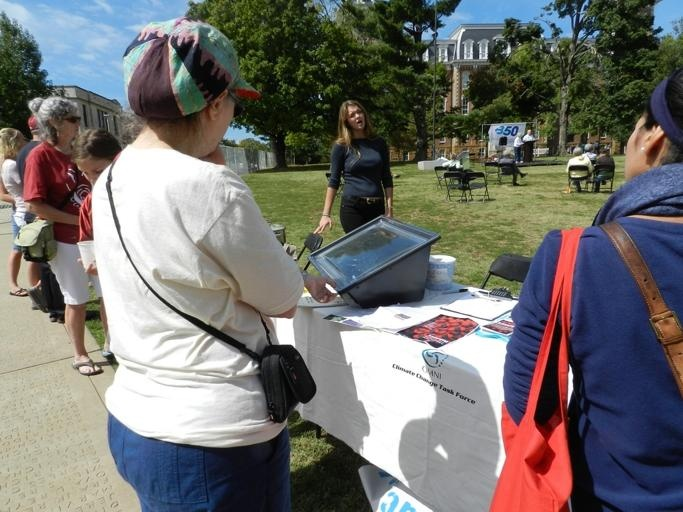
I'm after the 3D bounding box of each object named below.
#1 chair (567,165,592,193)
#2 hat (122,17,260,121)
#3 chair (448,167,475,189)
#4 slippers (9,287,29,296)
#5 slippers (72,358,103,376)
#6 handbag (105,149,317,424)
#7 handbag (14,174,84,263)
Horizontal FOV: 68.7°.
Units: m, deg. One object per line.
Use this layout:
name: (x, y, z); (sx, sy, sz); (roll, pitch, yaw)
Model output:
chair: (6.859, -2.266, 14.462); (0.565, 0.917, 0.690); (10, 51, 32)
hat: (-0.494, -0.622, 1.681); (0.421, 0.341, 0.191); (-2, 10, -26)
chair: (3.310, -2.184, 13.919); (0.575, 0.777, 0.599); (6, 49, 19)
slippers: (-3.814, 0.440, 5.973); (0.270, 0.077, 0.131); (4, 13, 27)
slippers: (-2.126, 0.935, 4.204); (0.261, 0.092, 0.118); (4, 8, 30)
handbag: (-0.387, 0.021, 2.355); (0.841, 1.535, 0.635); (-2, 19, 5)
handbag: (-2.360, -0.202, 3.906); (0.380, 0.862, 0.445); (4, -4, 41)
